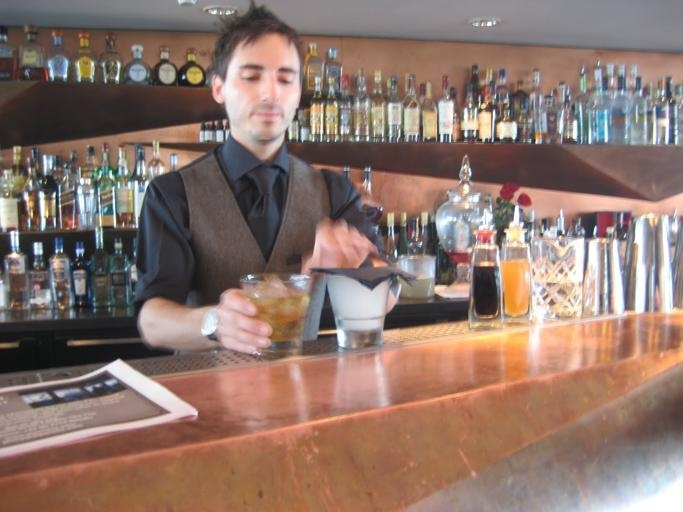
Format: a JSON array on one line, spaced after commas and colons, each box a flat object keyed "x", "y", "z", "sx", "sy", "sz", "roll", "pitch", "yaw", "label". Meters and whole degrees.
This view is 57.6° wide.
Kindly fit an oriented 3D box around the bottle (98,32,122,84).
[{"x": -1.140, "y": -0.956, "z": 3.027, "sx": 0.119, "sy": 0.230, "sz": 0.100, "roll": -2, "pitch": 13, "yaw": -10, "label": "bottle"}]

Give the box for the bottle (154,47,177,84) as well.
[{"x": -0.887, "y": -0.943, "z": 3.117, "sx": 0.121, "sy": 0.199, "sz": 0.100, "roll": -4, "pitch": 6, "yaw": -24, "label": "bottle"}]

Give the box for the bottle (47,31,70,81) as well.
[{"x": -1.379, "y": -0.951, "z": 3.008, "sx": 0.105, "sy": 0.268, "sz": 0.103, "roll": -3, "pitch": 0, "yaw": 0, "label": "bottle"}]

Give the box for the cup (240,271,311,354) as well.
[{"x": -0.137, "y": 0.117, "z": 1.396, "sx": 0.160, "sy": 0.193, "sz": 0.171, "roll": 0, "pitch": 1, "yaw": 0, "label": "cup"}]

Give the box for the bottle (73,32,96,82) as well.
[{"x": -1.264, "y": -0.963, "z": 3.031, "sx": 0.103, "sy": 0.237, "sz": 0.220, "roll": -5, "pitch": 14, "yaw": -23, "label": "bottle"}]

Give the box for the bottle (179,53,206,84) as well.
[{"x": -0.753, "y": -0.941, "z": 3.171, "sx": 0.141, "sy": 0.209, "sz": 0.105, "roll": -2, "pitch": 2, "yaw": -12, "label": "bottle"}]

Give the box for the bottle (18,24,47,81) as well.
[{"x": -1.496, "y": -0.957, "z": 2.990, "sx": 0.120, "sy": 0.295, "sz": 0.115, "roll": -4, "pitch": -6, "yaw": 0, "label": "bottle"}]

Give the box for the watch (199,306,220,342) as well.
[{"x": -0.314, "y": 0.159, "z": 1.470, "sx": 0.031, "sy": 0.099, "sz": 0.115, "roll": -3, "pitch": 14, "yaw": -16, "label": "watch"}]

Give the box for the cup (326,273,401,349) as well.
[{"x": 0.042, "y": 0.125, "z": 1.480, "sx": 0.153, "sy": 0.190, "sz": 0.116, "roll": 0, "pitch": 13, "yaw": -1, "label": "cup"}]
